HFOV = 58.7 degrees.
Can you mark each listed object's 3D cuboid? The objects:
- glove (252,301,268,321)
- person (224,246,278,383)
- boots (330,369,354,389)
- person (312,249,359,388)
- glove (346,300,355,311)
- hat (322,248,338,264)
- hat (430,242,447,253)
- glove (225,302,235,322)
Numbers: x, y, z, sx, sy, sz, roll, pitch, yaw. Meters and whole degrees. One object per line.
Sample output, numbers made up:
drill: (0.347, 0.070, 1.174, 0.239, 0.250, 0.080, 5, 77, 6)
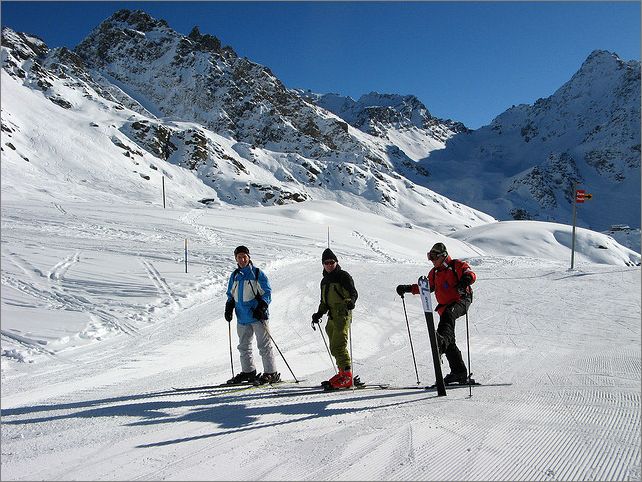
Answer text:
glove: (-1.383, 1.568, 12.794, 0.344, 0.459, 0.180, -7, -5, -8)
person: (-1.636, 1.703, 12.944, 1.142, 3.189, 0.841, -12, -6, 36)
boots: (0.463, 3.031, 12.427, 0.724, 0.392, 0.244, 2, -2, 1)
person: (0.339, 1.701, 12.492, 1.036, 3.093, 0.337, -11, -5, 20)
glove: (0.635, 1.389, 12.353, 0.213, 0.211, 0.320, -8, -5, 2)
hat: (0.154, 0.330, 12.704, 0.351, 0.279, 0.344, -8, 8, 9)
hat: (2.653, 0.128, 12.734, 0.244, 0.257, 0.244, 11, -13, 5)
glove: (-2.118, 1.614, 12.945, 0.343, 0.395, 0.156, -11, 26, -36)
